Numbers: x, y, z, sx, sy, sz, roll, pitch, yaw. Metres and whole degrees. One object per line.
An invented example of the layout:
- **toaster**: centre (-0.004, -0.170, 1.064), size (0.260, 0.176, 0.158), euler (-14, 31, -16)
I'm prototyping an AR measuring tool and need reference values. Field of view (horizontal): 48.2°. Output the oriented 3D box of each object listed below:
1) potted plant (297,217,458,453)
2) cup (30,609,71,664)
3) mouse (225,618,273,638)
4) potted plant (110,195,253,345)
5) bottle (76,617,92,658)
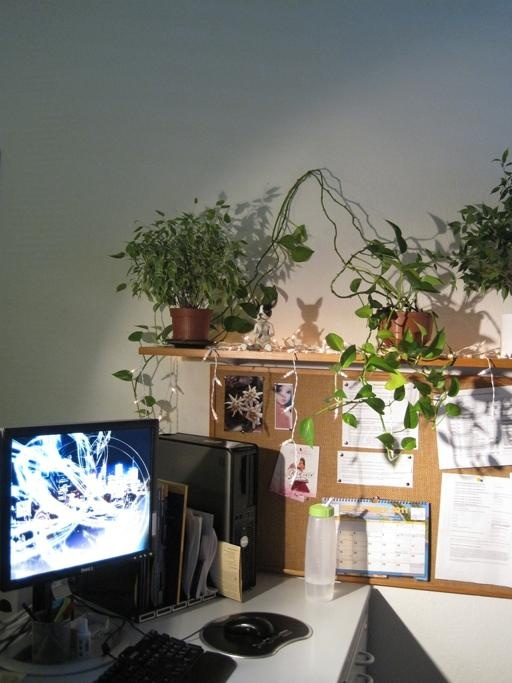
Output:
- **potted plant**: centre (0.333, -0.007, 1.478), size (0.364, 0.444, 0.368), euler (2, 1, 19)
- **cup**: centre (-0.401, 0.589, 1.151), size (0.071, 0.082, 0.089), euler (2, -8, -15)
- **mouse**: centre (-0.016, 0.621, 1.239), size (0.070, 0.021, 0.040), euler (4, -10, 7)
- **potted plant**: centre (-0.234, -0.174, 1.623), size (0.264, 0.301, 0.248), euler (-5, 6, 16)
- **bottle**: centre (-0.358, 0.606, 1.186), size (0.029, 0.060, 0.075), euler (1, 1, -18)
